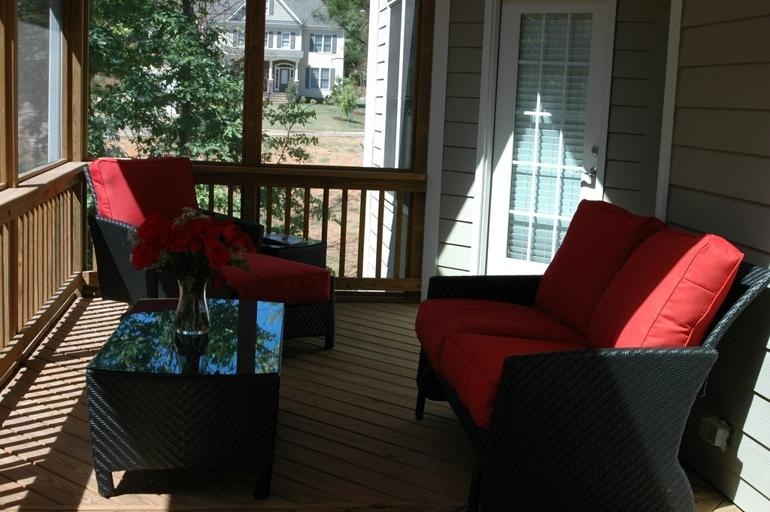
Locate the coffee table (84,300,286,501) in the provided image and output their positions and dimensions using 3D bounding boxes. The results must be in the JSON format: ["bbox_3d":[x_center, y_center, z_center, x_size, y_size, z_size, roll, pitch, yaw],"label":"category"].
[{"bbox_3d":[-0.926,0.800,2.914,0.785,0.504,1.055,0,23,-7],"label":"coffee table"}]

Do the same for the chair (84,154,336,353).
[{"bbox_3d":[-1.244,-0.028,4.142,1.596,1.076,0.923,14,14,32],"label":"chair"}]

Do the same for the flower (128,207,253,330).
[{"bbox_3d":[-0.912,0.055,3.011,0.599,0.583,0.593,5,6,3],"label":"flower"}]
